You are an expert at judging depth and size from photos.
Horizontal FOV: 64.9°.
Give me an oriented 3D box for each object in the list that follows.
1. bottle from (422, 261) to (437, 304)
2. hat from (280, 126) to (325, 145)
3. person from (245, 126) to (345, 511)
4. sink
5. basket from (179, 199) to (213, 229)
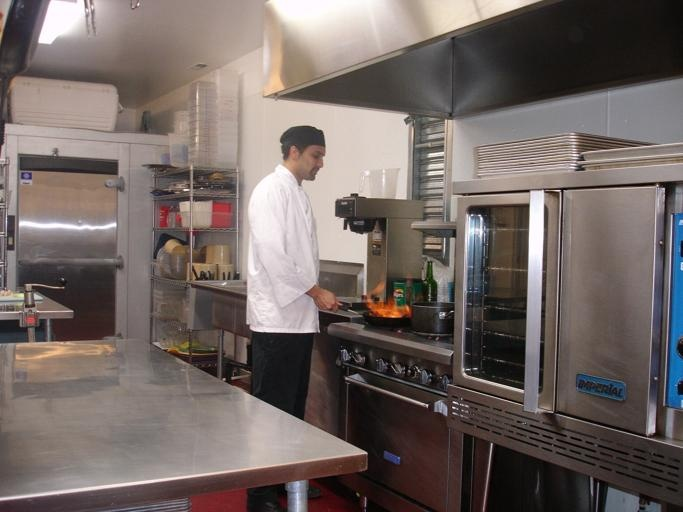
[{"bbox_3d":[0.466,0.131,2.778,0.074,0.207,0.220,2,3,9],"label":"bottle"},{"bbox_3d":[-0.212,-0.638,2.897,0.140,0.075,0.144,1,3,33],"label":"hat"},{"bbox_3d":[-0.262,0.349,2.848,0.463,2.087,0.540,1,3,-12],"label":"person"},{"bbox_3d":[-0.865,0.374,3.912,0.422,0.208,0.602,2,0,-26],"label":"sink"},{"bbox_3d":[-1.529,-0.433,5.553,0.312,0.236,0.249,-2,-3,23],"label":"basket"}]
